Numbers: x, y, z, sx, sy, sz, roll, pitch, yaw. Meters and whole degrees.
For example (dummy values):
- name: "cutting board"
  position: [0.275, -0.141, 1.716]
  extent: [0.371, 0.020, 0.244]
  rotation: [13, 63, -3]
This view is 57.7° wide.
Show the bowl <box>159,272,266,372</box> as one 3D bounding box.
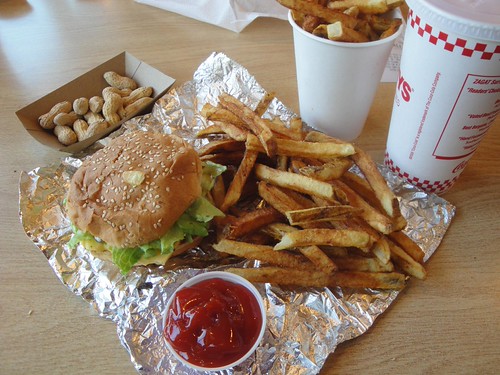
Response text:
- name: "bowl"
  position: [-0.174, 0.637, 2.224]
  extent: [0.492, 0.139, 0.503]
  rotation: [-3, 54, 3]
